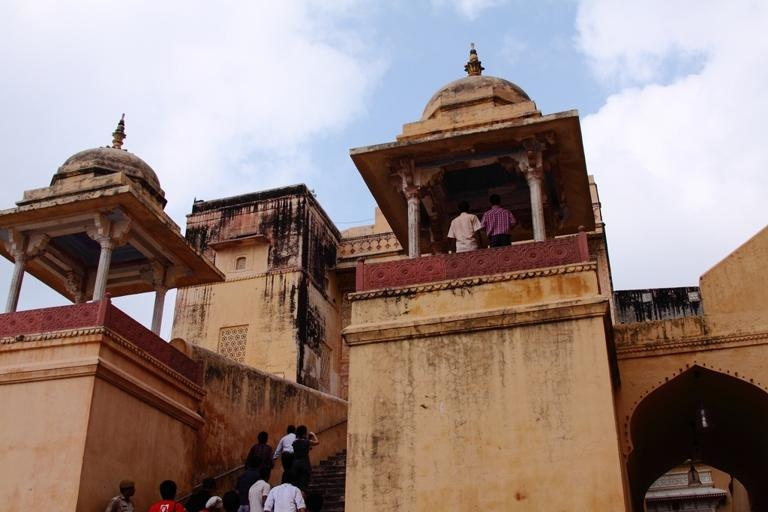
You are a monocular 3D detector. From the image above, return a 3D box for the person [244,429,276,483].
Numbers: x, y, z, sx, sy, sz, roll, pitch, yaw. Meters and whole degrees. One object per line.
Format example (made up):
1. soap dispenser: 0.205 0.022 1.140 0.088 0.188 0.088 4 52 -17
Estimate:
1. person: -2.244 3.765 12.804 0.539 1.147 0.273 7 -6 -3
